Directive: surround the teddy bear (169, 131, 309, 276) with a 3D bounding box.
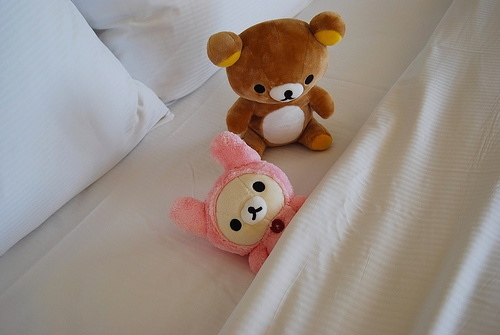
[{"bbox_3d":[-0.034,0.099,1.153,0.275,0.233,0.301,29,60,31],"label":"teddy bear"}]

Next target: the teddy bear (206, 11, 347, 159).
[{"bbox_3d":[0.090,-0.261,1.319,0.392,0.459,0.297,-12,54,-4],"label":"teddy bear"}]
